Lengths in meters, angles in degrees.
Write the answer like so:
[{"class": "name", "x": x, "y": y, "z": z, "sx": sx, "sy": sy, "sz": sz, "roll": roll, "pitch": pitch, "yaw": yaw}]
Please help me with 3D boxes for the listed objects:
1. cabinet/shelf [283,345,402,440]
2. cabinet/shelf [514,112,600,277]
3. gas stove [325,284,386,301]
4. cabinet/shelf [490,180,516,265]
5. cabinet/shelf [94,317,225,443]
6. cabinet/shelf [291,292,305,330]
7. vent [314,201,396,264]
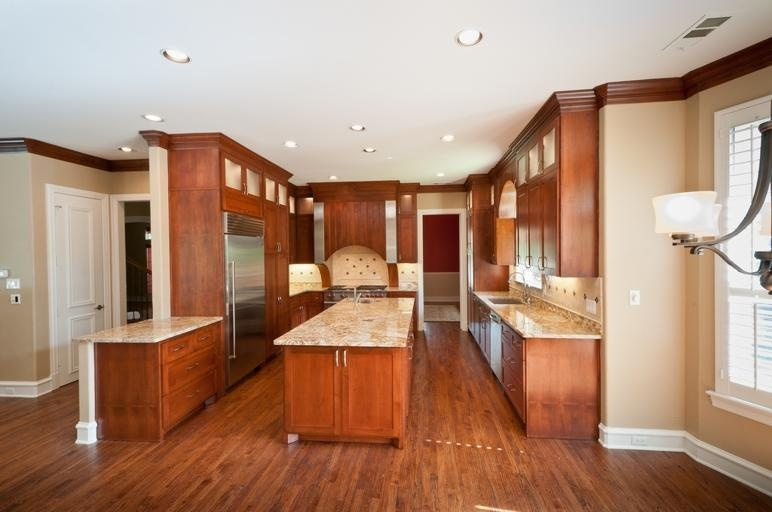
[{"class": "cabinet/shelf", "x": -0.425, "y": 1.457, "z": 5.661, "sx": 1.038, "sy": 0.679, "sz": 1.099, "roll": -1, "pitch": -9, "yaw": 4}, {"class": "cabinet/shelf", "x": 1.951, "y": -0.731, "z": 5.979, "sx": 0.501, "sy": 1.885, "sz": 1.886, "roll": 1, "pitch": -1, "yaw": 10}, {"class": "gas stove", "x": -0.546, "y": 0.671, "z": 9.457, "sx": 1.097, "sy": 0.287, "sz": 0.590, "roll": -2, "pitch": 0, "yaw": -3}, {"class": "cabinet/shelf", "x": 1.838, "y": -0.557, "z": 8.345, "sx": 0.291, "sy": 1.335, "sz": 0.313, "roll": -1, "pitch": 8, "yaw": 10}, {"class": "cabinet/shelf", "x": -2.740, "y": 1.418, "z": 6.529, "sx": 0.882, "sy": 1.058, "sz": 1.496, "roll": 0, "pitch": 2, "yaw": 8}, {"class": "cabinet/shelf", "x": -1.598, "y": 0.985, "z": 9.260, "sx": 0.232, "sy": 0.528, "sz": 0.574, "roll": -1, "pitch": 0, "yaw": -15}, {"class": "vent", "x": -0.482, "y": -0.495, "z": 9.661, "sx": 1.648, "sy": 1.260, "sz": 0.244, "roll": 2, "pitch": 2, "yaw": 20}]
